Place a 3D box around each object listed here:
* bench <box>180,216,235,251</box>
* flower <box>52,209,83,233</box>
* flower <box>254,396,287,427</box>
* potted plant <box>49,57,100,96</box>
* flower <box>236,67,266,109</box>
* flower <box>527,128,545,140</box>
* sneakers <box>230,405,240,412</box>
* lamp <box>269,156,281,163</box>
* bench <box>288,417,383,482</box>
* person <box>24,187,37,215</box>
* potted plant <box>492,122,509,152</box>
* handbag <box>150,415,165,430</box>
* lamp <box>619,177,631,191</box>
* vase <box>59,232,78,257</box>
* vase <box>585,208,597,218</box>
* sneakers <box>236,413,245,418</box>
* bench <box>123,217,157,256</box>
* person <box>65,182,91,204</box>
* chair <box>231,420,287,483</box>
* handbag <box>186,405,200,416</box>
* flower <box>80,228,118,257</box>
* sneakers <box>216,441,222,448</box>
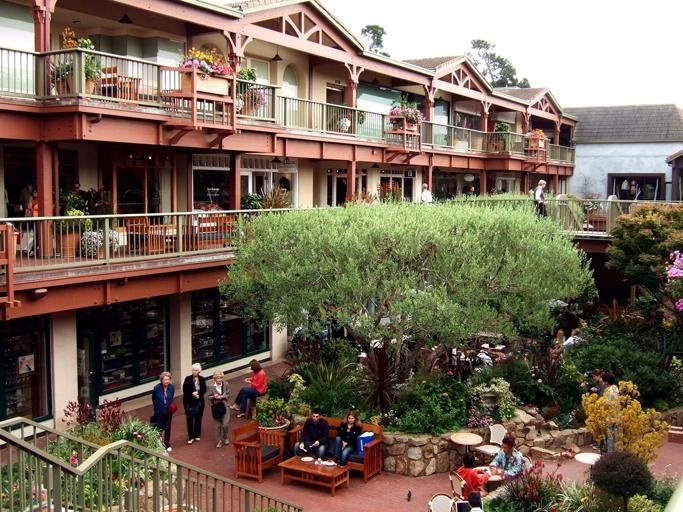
[{"bbox_3d":[-4.385,-0.757,21.493,1.097,0.783,1.152,-1,0,37],"label":"bench"},{"bbox_3d":[-7.260,-0.850,18.411,0.729,0.742,0.777,1,-2,-8],"label":"flower"},{"bbox_3d":[-1.861,4.168,18.298,0.688,0.724,0.578,1,-5,-14],"label":"flower"},{"bbox_3d":[-7.088,-4.760,18.434,1.051,1.100,1.125,-2,-2,37],"label":"potted plant"},{"bbox_3d":[-3.297,-5.702,23.557,0.868,1.239,0.817,-4,23,-41],"label":"flower"},{"bbox_3d":[12.097,-7.471,42.952,0.676,0.684,1.629,3,4,38],"label":"flower"},{"bbox_3d":[-3.182,4.545,20.599,0.150,0.217,0.479,14,-11,-8],"label":"sneakers"},{"bbox_3d":[-2.664,-3.889,28.366,0.156,0.221,0.528,3,4,40],"label":"lamp"},{"bbox_3d":[-0.133,4.831,17.468,2.091,1.402,0.856,5,-5,26],"label":"bench"},{"bbox_3d":[-8.802,-1.544,19.437,0.363,0.895,2.034,-1,3,-25],"label":"person"},{"bbox_3d":[9.304,-6.923,40.592,0.868,1.820,1.669,1,3,12],"label":"potted plant"},{"bbox_3d":[-4.732,4.295,17.768,0.324,0.522,0.296,2,11,10],"label":"handbag"},{"bbox_3d":[20.024,-5.003,48.747,0.650,0.927,0.691,0,-8,29],"label":"lamp"},{"bbox_3d":[-7.095,-0.269,18.053,0.399,0.650,1.041,-1,3,-20],"label":"vase"},{"bbox_3d":[9.790,-1.677,27.125,0.280,0.361,0.336,19,17,22],"label":"vase"},{"bbox_3d":[-2.960,4.701,20.261,0.240,0.117,0.093,5,3,12],"label":"sneakers"},{"bbox_3d":[-5.670,-0.527,19.747,0.519,0.938,0.604,-23,-11,28],"label":"bench"},{"bbox_3d":[-7.756,-1.748,20.210,0.724,0.961,0.468,-1,5,4],"label":"person"},{"bbox_3d":[-2.080,4.917,17.400,0.976,1.194,1.372,2,3,29],"label":"chair"},{"bbox_3d":[-3.965,4.130,18.391,0.337,0.219,0.256,9,6,-1],"label":"handbag"},{"bbox_3d":[-6.536,-0.329,18.406,0.874,0.736,0.742,-2,5,16],"label":"flower"},{"bbox_3d":[-3.268,5.048,18.431,0.085,0.194,0.172,-1,9,1],"label":"sneakers"}]
